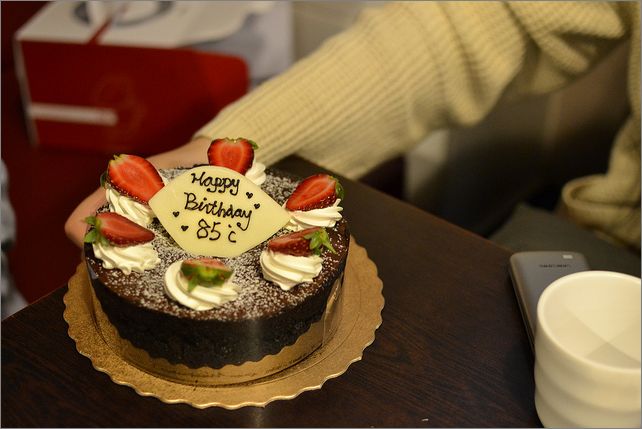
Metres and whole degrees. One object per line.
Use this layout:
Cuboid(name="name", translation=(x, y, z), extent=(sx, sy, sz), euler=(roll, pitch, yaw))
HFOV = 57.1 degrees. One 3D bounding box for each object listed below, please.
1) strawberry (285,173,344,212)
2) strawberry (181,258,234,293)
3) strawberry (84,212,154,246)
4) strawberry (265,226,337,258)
Cuboid(name="strawberry", translation=(-0.018, -0.061, 1.554), extent=(0.123, 0.034, 0.098), euler=(-20, 53, -2))
Cuboid(name="strawberry", translation=(-0.263, 0.128, 1.349), extent=(0.081, 0.023, 0.083), euler=(-9, 39, -35))
Cuboid(name="strawberry", translation=(-0.495, 0.036, 1.432), extent=(0.133, 0.033, 0.088), euler=(18, 32, -10))
Cuboid(name="strawberry", translation=(-0.048, 0.060, 1.425), extent=(0.103, 0.086, 0.041), euler=(-3, 97, -7))
